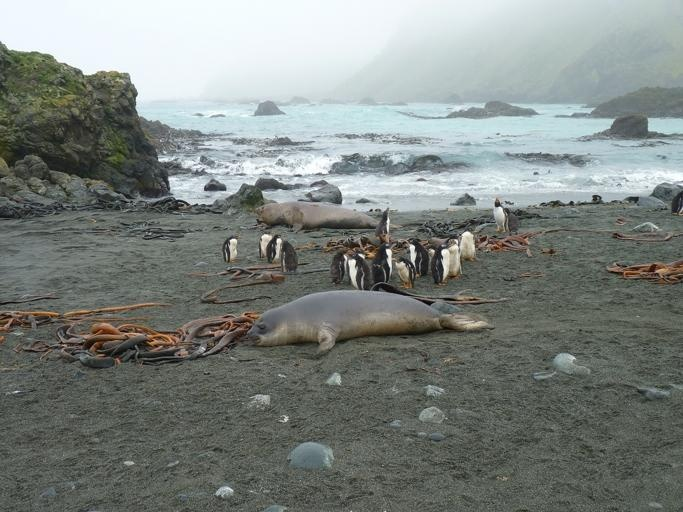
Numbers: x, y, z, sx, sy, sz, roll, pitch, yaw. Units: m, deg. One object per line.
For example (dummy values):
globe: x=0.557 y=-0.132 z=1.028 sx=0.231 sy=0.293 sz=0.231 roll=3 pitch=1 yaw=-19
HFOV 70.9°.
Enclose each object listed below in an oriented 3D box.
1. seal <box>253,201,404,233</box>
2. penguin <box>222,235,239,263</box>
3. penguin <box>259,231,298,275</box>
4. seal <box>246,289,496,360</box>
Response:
seal: x=-0.538 y=-1.006 z=12.160 sx=4.165 sy=0.666 sz=0.981 roll=5 pitch=-8 yaw=9
penguin: x=-1.994 y=-0.132 z=8.520 sx=0.318 sy=0.434 sz=0.544 roll=-11 pitch=13 yaw=-12
penguin: x=-1.060 y=-0.086 z=8.003 sx=0.631 sy=0.282 sz=1.149 roll=8 pitch=13 yaw=-13
seal: x=0.257 y=0.621 z=5.049 sx=2.550 sy=0.348 sz=0.748 roll=-4 pitch=7 yaw=-11
